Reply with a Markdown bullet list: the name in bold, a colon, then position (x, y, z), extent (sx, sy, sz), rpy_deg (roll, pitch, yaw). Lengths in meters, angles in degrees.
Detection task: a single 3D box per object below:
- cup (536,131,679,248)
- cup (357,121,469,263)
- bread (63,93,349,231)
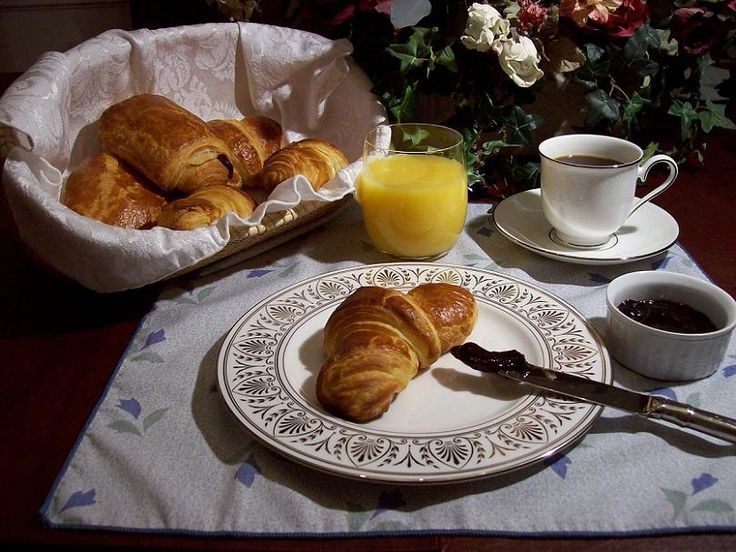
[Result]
- **cup**: position (0.383, -0.147, 0.975), extent (0.227, 0.164, 0.183), rpy_deg (2, 18, 11)
- **cup**: position (0.066, -0.149, 1.048), extent (0.209, 0.207, 0.212), rpy_deg (-1, 21, 0)
- **bread**: position (-0.300, -0.189, 1.054), extent (0.378, 0.152, 0.307), rpy_deg (-11, 24, -39)
